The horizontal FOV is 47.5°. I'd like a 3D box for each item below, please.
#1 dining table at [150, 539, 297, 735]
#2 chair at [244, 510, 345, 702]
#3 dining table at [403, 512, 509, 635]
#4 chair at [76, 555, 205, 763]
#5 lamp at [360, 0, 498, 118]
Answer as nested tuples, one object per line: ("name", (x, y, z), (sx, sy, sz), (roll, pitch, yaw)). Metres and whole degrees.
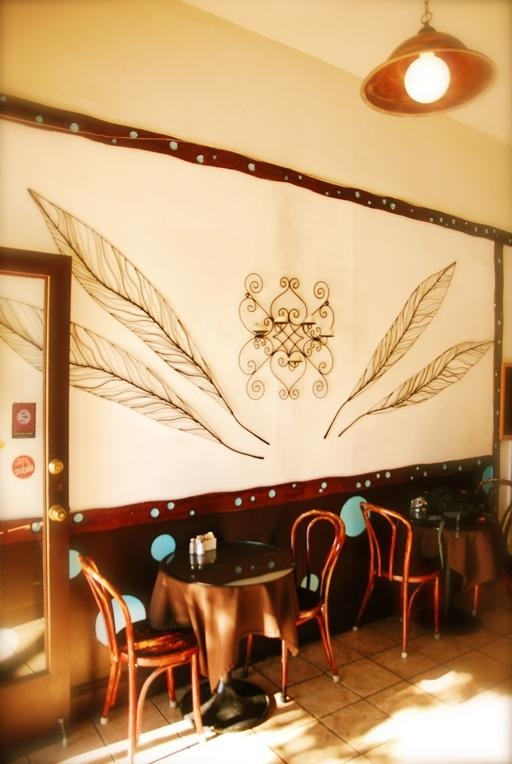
("dining table", (-0.139, 1.177, 2.716), (0.648, 0.667, 0.749), (2, 2, 32))
("chair", (0.243, 1.136, 3.019), (0.447, 0.847, 0.410), (-4, -3, -4))
("dining table", (1.234, 1.208, 3.695), (0.637, 0.636, 0.643), (2, 5, 39))
("chair", (-0.485, 1.119, 2.533), (0.512, 0.602, 0.574), (-2, -2, -21))
("lamp", (0.606, -1.259, 2.241), (0.402, 0.478, 0.409), (3, -18, 0))
